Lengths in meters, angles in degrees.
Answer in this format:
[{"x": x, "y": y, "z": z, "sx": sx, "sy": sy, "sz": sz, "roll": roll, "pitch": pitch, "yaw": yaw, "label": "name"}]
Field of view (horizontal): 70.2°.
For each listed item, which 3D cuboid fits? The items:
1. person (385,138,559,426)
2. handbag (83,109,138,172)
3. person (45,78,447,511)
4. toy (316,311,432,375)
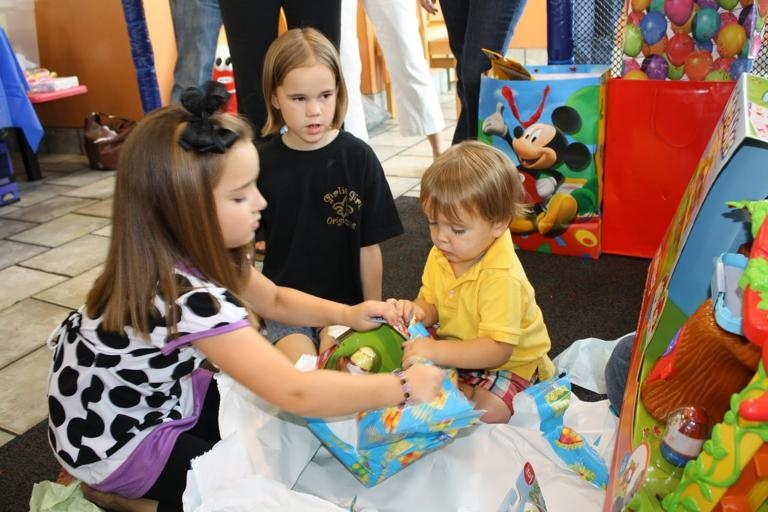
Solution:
[{"x": 0.235, "y": 0.089, "z": 1.606, "sx": 0.505, "sy": 0.781, "sz": 0.484, "roll": -19, "pitch": 30, "yaw": -20, "label": "person"}, {"x": -2.078, "y": -0.859, "z": 4.152, "sx": 0.331, "sy": 0.414, "sz": 0.224, "roll": 1, "pitch": 17, "yaw": -38, "label": "handbag"}, {"x": -0.426, "y": 0.135, "z": 1.330, "sx": 0.853, "sy": 1.016, "sz": 0.368, "roll": -4, "pitch": 24, "yaw": -9, "label": "person"}, {"x": -0.056, "y": 0.268, "z": 1.542, "sx": 0.218, "sy": 0.084, "sz": 0.173, "roll": 7, "pitch": 31, "yaw": 26, "label": "toy"}]
